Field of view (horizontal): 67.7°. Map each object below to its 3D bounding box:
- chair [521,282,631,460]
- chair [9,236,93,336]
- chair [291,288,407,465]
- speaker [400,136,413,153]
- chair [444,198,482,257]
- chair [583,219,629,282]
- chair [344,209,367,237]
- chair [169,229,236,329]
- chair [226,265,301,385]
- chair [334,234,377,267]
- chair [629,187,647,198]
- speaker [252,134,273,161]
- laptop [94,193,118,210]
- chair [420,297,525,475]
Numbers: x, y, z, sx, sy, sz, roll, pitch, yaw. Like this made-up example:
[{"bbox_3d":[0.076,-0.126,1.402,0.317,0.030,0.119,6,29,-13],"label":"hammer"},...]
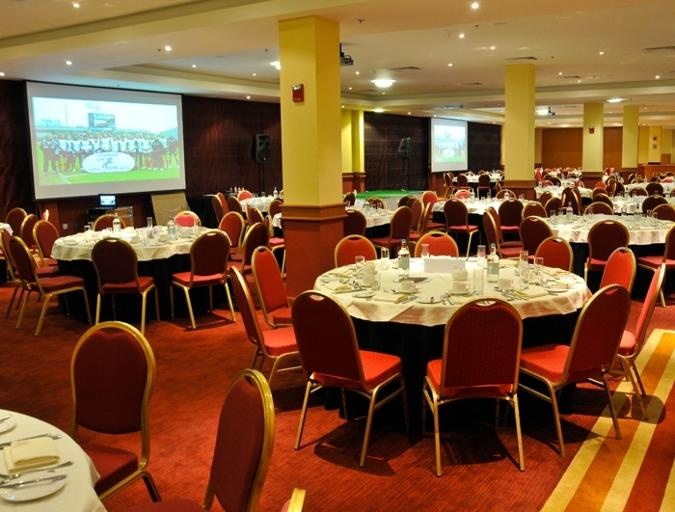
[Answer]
[{"bbox_3d":[1.533,0.696,3.419,0.590,1.108,0.674,-3,7,-22],"label":"chair"},{"bbox_3d":[-3.658,0.271,6.227,0.705,1.135,1.502,-12,15,-44],"label":"chair"},{"bbox_3d":[0.084,0.748,3.409,0.742,1.119,0.681,-9,10,-40],"label":"chair"},{"bbox_3d":[2.858,-4.596,20.963,0.516,0.722,1.545,0,11,8],"label":"speaker"},{"bbox_3d":[2.410,-0.545,9.746,0.635,1.176,0.720,5,11,31],"label":"chair"},{"bbox_3d":[3.489,0.003,6.532,0.580,1.071,0.673,3,17,32],"label":"chair"},{"bbox_3d":[0.262,-0.506,7.783,0.321,0.382,0.310,-1,11,0],"label":"chair"},{"bbox_3d":[-1.627,0.237,6.151,0.695,1.152,0.752,-8,13,-31],"label":"chair"},{"bbox_3d":[-0.661,0.625,4.420,0.756,1.156,0.674,-7,16,-17],"label":"chair"},{"bbox_3d":[0.165,-0.077,5.374,0.319,0.563,0.373,-1,6,-11],"label":"chair"},{"bbox_3d":[8.198,-1.802,13.765,0.392,0.303,0.390,-7,9,-29],"label":"chair"},{"bbox_3d":[-2.300,-3.217,15.015,0.549,0.791,0.248,1,6,-36],"label":"speaker"},{"bbox_3d":[-5.512,-1.283,12.017,0.569,0.493,0.291,-2,1,-41],"label":"laptop"},{"bbox_3d":[0.859,0.778,3.260,0.602,1.066,0.662,0,7,9],"label":"chair"}]
